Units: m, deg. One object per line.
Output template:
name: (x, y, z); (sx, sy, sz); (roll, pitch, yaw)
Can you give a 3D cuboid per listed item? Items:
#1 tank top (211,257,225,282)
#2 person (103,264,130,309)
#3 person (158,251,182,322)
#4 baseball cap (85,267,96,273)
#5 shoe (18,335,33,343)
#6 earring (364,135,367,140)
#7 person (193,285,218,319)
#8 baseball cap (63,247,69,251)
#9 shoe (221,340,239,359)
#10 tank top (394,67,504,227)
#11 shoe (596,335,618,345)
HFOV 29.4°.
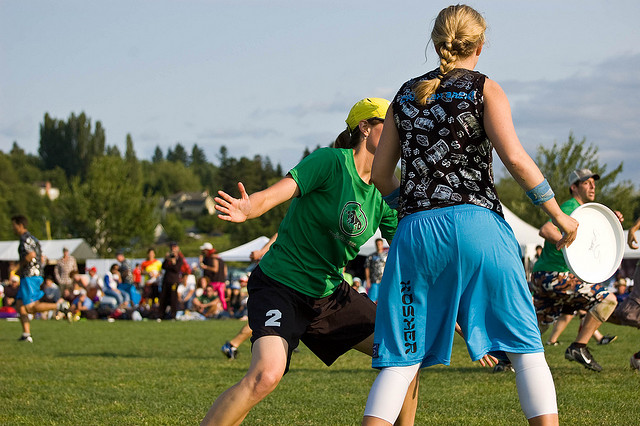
tank top: (-2.836, 1.493, 33.120); (0.315, 0.493, 0.760); (-1, 0, -2)
person: (-5.599, 1.966, 33.381); (0.571, 0.935, 0.801); (-1, 1, 33)
person: (-3.982, 1.890, 32.096); (0.647, 1.386, 1.547); (-2, 0, -9)
baseball cap: (-6.716, 1.607, 35.903); (0.304, 0.124, 0.306); (0, -7, 7)
shoe: (-6.055, 2.575, 25.186); (0.377, 0.167, 0.131); (5, 1, 14)
earring: (0.644, -1.164, 18.299); (0.067, 0.067, 0.016); (-4, 1, -17)
person: (-3.173, 2.427, 33.756); (0.872, 1.159, 0.755); (2, -4, -13)
baseball cap: (-6.942, 0.918, 33.204); (0.130, 0.131, 0.129); (1, -13, -2)
shoe: (-1.713, 2.513, 22.567); (0.289, 0.238, 0.365); (-2, 0, -5)
tank top: (1.843, -0.931, 17.447); (2.102, 2.824, 1.494); (-3, -4, 21)
shoe: (5.162, 2.311, 22.357); (0.368, 0.148, 0.127); (-22, 16, 36)
